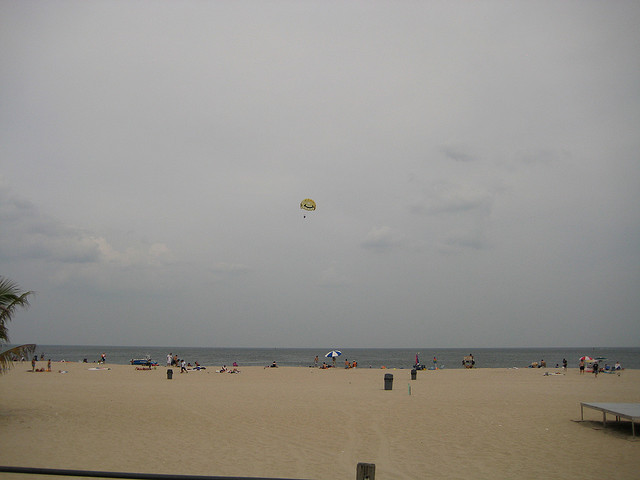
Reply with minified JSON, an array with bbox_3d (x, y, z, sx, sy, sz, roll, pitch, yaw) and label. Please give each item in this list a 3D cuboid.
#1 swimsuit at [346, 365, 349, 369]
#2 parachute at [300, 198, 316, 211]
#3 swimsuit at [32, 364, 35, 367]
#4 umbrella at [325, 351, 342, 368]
[{"bbox_3d":[2.640,12.118,64.596,0.215,0.361,0.347,-3,-17,5],"label":"swimsuit"},{"bbox_3d":[-1.001,-2.881,58.165,0.887,0.924,1.386,-11,-18,37],"label":"parachute"},{"bbox_3d":[-20.366,8.929,48.282,0.076,0.175,2.306,5,-15,-19],"label":"swimsuit"},{"bbox_3d":[1.540,14.793,83.799,2.216,2.534,2.411,0,7,13],"label":"umbrella"}]
